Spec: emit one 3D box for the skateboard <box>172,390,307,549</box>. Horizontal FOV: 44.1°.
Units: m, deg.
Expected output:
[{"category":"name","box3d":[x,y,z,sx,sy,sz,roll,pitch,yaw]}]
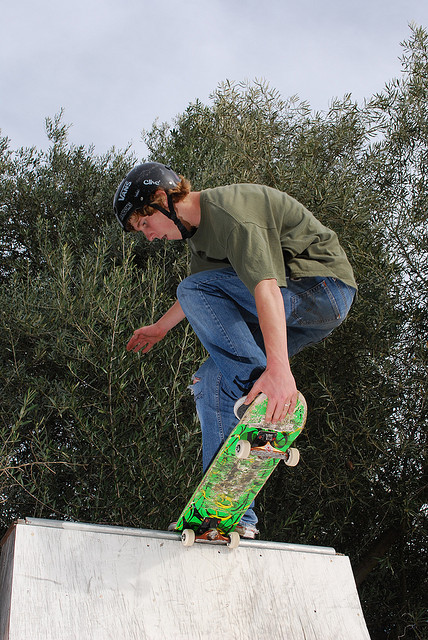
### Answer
[{"category":"skateboard","box3d":[0.030,0.675,2.242,0.305,1.161,0.163,14,39,-22]}]
